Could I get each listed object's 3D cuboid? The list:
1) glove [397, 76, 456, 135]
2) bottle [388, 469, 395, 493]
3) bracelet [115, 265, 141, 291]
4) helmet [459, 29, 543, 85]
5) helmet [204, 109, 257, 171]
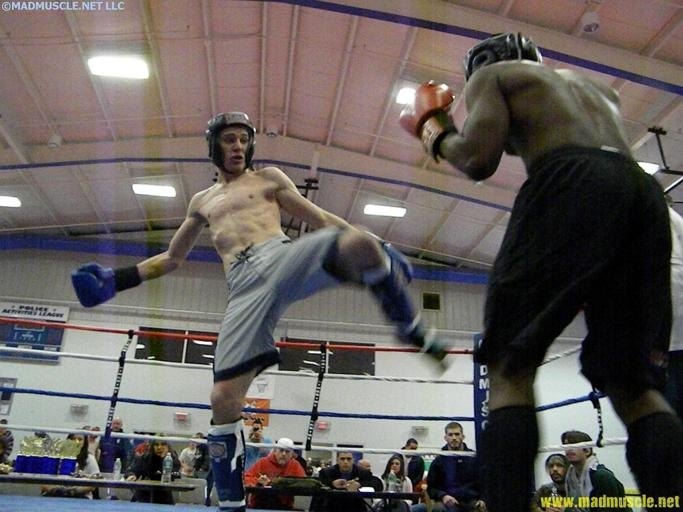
[{"bbox_3d":[0.361,-0.591,2.022,0.267,0.101,0.199,-19,-8,26],"label":"glove"},{"bbox_3d":[0.481,2.200,4.839,0.075,0.229,0.099,0,20,6],"label":"bottle"},{"bbox_3d":[-1.181,0.122,2.846,0.146,0.110,0.148,-15,6,45],"label":"bracelet"},{"bbox_3d":[0.554,-0.718,1.834,0.222,0.098,0.237,-4,-11,-22],"label":"helmet"},{"bbox_3d":[-0.678,-0.654,3.036,0.335,0.355,0.365,2,-37,-13],"label":"helmet"}]
